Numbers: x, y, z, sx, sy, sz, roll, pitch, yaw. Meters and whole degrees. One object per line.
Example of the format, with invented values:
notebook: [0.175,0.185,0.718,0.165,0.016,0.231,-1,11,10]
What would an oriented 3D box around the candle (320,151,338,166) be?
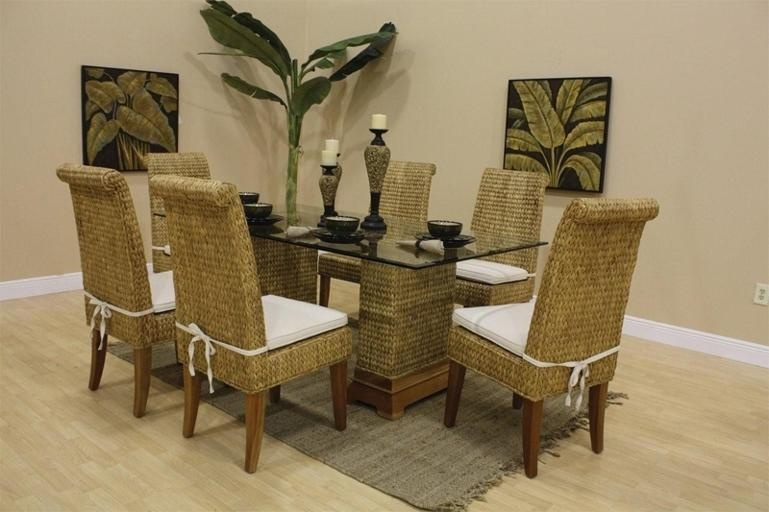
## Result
candle: [-0.368,-0.642,4.019,0.140,0.109,0.140,2,5,-24]

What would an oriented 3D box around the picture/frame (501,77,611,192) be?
picture/frame: [1.502,-1.042,5.100,1.045,1.168,0.045,9,17,35]

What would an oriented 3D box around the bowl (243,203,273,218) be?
bowl: [-0.829,-0.288,3.958,0.123,0.056,0.124,0,2,0]

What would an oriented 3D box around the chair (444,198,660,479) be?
chair: [0.919,0.381,3.450,0.749,1.486,1.028,-5,12,-31]

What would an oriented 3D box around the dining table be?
dining table: [-0.119,0.330,4.126,0.944,0.860,1.694,-7,14,-39]

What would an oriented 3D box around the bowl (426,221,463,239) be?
bowl: [0.363,-0.163,3.592,0.141,0.064,0.142,3,6,0]

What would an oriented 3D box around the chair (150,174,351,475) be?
chair: [-0.736,0.308,3.439,0.802,1.460,0.992,9,12,29]

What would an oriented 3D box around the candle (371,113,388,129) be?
candle: [-0.038,-0.925,4.119,0.091,0.087,0.152,4,18,6]

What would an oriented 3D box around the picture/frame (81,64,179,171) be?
picture/frame: [-2.377,-1.322,5.646,0.859,0.869,0.023,-11,19,-42]
